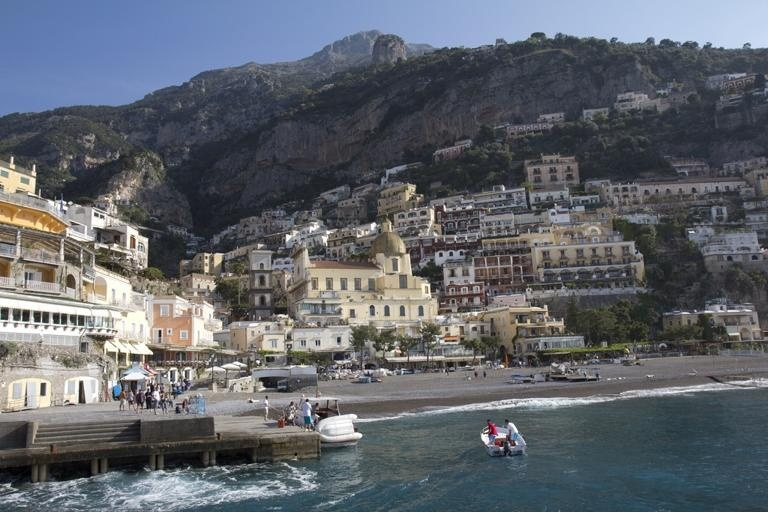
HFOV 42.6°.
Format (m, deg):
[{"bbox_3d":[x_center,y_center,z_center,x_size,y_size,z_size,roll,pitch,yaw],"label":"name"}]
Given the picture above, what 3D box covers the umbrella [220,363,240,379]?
[{"bbox_3d":[-23.750,17.793,153.416,2.703,1.718,2.627,7,-10,-30],"label":"umbrella"}]
